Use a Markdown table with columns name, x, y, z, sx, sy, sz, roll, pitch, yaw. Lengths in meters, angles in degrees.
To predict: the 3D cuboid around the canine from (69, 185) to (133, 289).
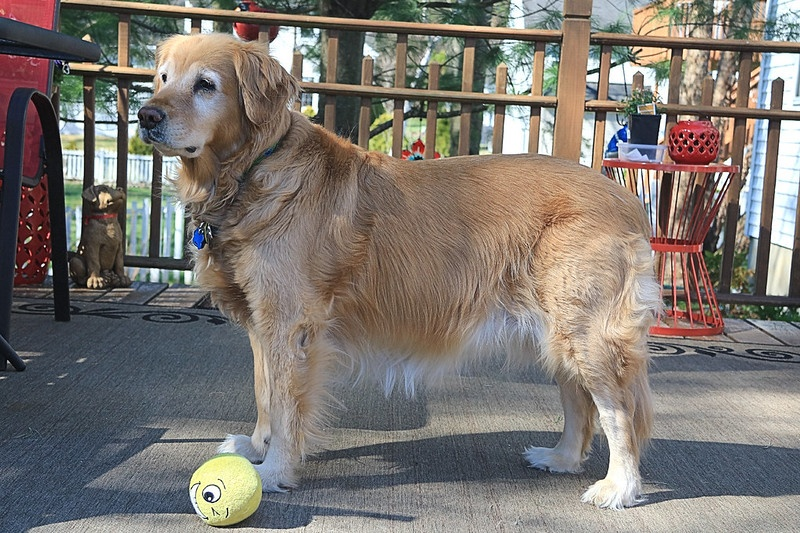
| name | x | y | z | sx | sy | sz | roll | pitch | yaw |
| --- | --- | --- | --- | --- | --- | --- | --- | --- | --- |
| canine | -2.297 | -0.214 | 5.657 | 0.416 | 0.798 | 0.268 | -6 | 11 | -26 |

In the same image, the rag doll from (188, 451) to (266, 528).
| name | x | y | z | sx | sy | sz | roll | pitch | yaw |
| --- | --- | --- | --- | --- | --- | --- | --- | --- | --- |
| rag doll | -0.763 | 0.984 | 3.409 | 0.222 | 0.289 | 0.281 | 46 | 24 | 23 |

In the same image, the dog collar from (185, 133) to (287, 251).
| name | x | y | z | sx | sy | sz | roll | pitch | yaw |
| --- | --- | --- | --- | --- | --- | --- | --- | --- | --- |
| dog collar | -0.774 | -0.371 | 3.611 | 0.124 | 0.574 | 0.065 | 27 | -7 | 39 |

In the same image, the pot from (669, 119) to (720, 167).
| name | x | y | z | sx | sy | sz | roll | pitch | yaw |
| --- | --- | --- | --- | --- | --- | --- | --- | --- | --- |
| pot | 2.133 | -0.873 | 5.450 | 0.305 | 0.304 | 0.328 | 1 | 3 | 0 |

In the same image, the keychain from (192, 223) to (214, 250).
| name | x | y | z | sx | sy | sz | roll | pitch | yaw |
| --- | --- | --- | --- | --- | --- | --- | --- | --- | --- |
| keychain | -0.961 | -0.144 | 3.649 | 0.098 | 0.133 | 0.030 | 11 | -5 | 25 |
